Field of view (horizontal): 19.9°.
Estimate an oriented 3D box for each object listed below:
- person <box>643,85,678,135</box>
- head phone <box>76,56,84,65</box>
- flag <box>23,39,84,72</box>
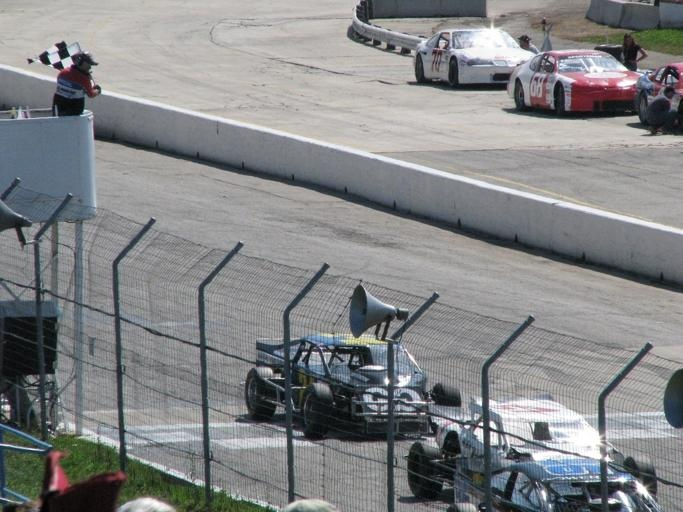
[{"bbox_3d":[7.175,-3.189,43.416,0.639,1.028,0.687,-13,13,-25],"label":"person"},{"bbox_3d":[-5.064,-3.734,37.539,0.160,0.113,0.122,-33,29,-1],"label":"head phone"},{"bbox_3d":[-5.427,-3.798,37.553,1.241,0.657,0.297,-3,-16,-30],"label":"flag"}]
